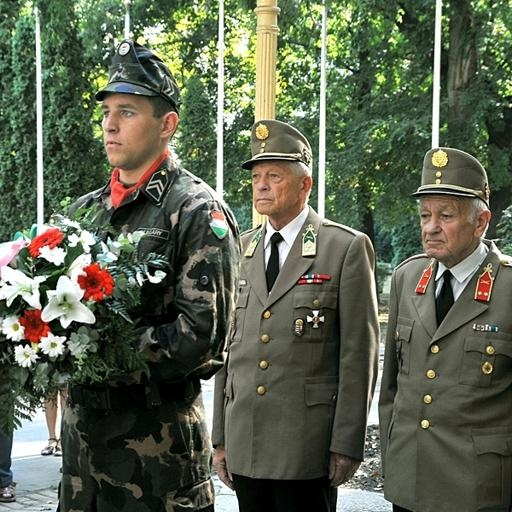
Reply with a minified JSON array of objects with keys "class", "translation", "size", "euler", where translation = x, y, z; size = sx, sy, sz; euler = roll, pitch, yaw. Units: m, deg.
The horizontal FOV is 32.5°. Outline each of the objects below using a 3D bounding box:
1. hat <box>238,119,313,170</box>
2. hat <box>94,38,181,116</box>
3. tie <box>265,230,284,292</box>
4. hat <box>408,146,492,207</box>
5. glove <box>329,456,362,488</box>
[{"class":"hat","translation":[0.067,-0.602,4.607],"size":[0.374,0.186,0.467],"euler":[8,8,20]},{"class":"hat","translation":[-0.472,-0.726,3.467],"size":[0.277,0.168,0.362],"euler":[9,7,28]},{"class":"tie","translation":[0.101,0.032,4.425],"size":[0.085,0.307,0.048],"euler":[-6,-38,26]},{"class":"hat","translation":[0.907,-0.376,4.175],"size":[0.393,0.213,0.461],"euler":[6,5,22]},{"class":"glove","translation":[0.403,0.997,4.082],"size":[0.136,0.164,0.118],"euler":[-2,-8,28]}]
